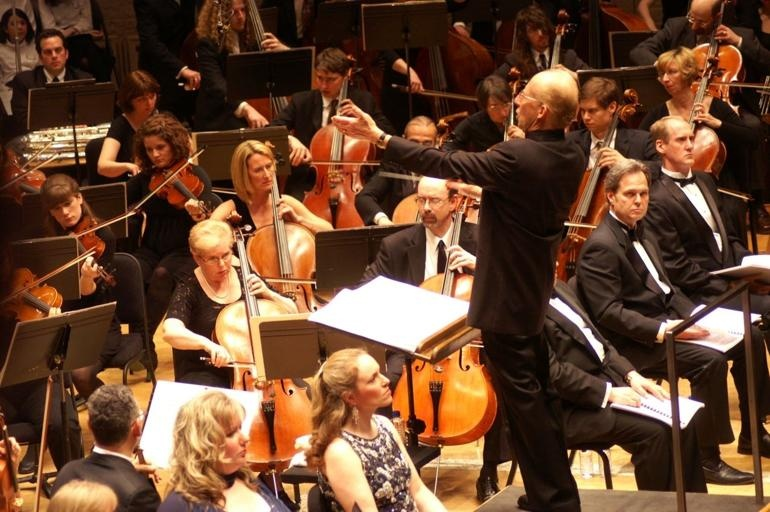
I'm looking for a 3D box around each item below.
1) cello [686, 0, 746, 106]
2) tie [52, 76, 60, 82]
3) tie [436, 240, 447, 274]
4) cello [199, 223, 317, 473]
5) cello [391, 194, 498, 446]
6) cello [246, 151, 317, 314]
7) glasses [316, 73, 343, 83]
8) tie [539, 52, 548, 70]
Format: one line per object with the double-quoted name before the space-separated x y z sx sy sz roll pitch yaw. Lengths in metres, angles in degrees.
"cello" 3.350 -1.940 7.838 0.591 1.347 0.478 7 -17 17
"tie" -3.547 -1.901 8.459 0.068 0.089 0.020 10 1 -7
"tie" 0.404 0.002 5.589 0.097 0.194 0.051 -1 -1 4
"cello" -0.938 0.472 5.358 0.699 1.930 0.457 3 -22 -35
"cello" 0.359 0.393 4.948 0.632 1.612 0.301 4 16 6
"cello" -0.848 -0.177 6.364 0.504 1.198 0.377 -1 -13 -22
"glasses" -0.537 -1.743 7.758 0.137 0.096 0.181 1 5 10
"tie" 1.641 -2.003 8.114 0.098 0.183 0.050 -9 4 -10
